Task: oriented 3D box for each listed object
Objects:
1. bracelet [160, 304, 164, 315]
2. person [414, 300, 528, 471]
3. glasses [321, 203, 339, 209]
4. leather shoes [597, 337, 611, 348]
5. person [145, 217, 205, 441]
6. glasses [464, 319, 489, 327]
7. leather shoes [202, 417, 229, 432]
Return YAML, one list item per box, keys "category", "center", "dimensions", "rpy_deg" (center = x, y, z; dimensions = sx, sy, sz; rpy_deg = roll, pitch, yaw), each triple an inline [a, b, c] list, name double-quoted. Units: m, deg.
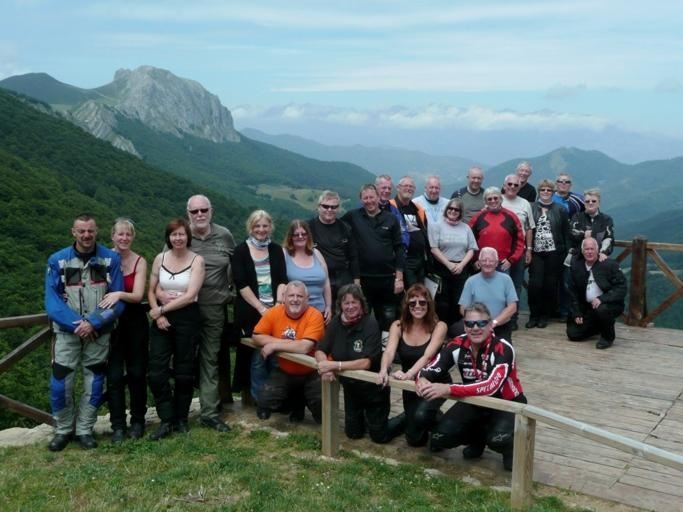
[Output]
- category: "bracelet"
  center: [-2.193, 0.668, 7.000]
  dimensions: [0.032, 0.081, 0.085]
  rpy_deg: [2, -1, 3]
- category: "person"
  center: [1.443, 1.431, 6.273]
  dimensions: [1.079, 1.837, 0.638]
  rpy_deg: [4, 13, 22]
- category: "glasses"
  center: [-0.164, -0.715, 8.225]
  dimensions: [0.242, 0.084, 0.115]
  rpy_deg: [-1, 11, 0]
- category: "leather shoes"
  center: [4.610, 1.516, 10.026]
  dimensions: [0.236, 0.144, 0.346]
  rpy_deg: [6, 12, 29]
- category: "person"
  center: [-2.057, 0.888, 7.140]
  dimensions: [0.753, 2.674, 0.623]
  rpy_deg: [-4, 12, -14]
- category: "glasses"
  center: [1.461, 0.724, 6.144]
  dimensions: [0.254, 0.091, 0.066]
  rpy_deg: [1, 12, 8]
- category: "leather shoes"
  center: [-1.631, 2.170, 7.436]
  dimensions: [0.403, 0.149, 0.146]
  rpy_deg: [6, 3, 19]
